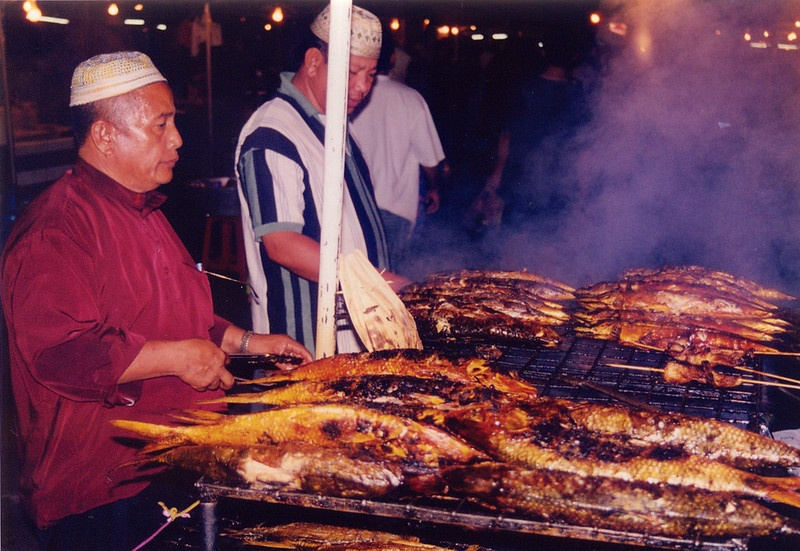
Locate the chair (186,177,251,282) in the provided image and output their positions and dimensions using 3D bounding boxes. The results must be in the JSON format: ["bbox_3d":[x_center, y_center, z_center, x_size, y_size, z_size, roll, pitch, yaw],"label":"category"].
[{"bbox_3d":[-2.031,-0.449,8.723,0.713,1.246,0.695,-5,23,-23],"label":"chair"}]

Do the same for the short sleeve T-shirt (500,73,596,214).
[{"bbox_3d":[1.365,-1.258,7.228,0.678,1.236,0.401,6,20,9],"label":"short sleeve T-shirt"}]

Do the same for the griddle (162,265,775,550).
[{"bbox_3d":[0.423,0.659,3.248,1.615,0.065,1.230,6,22,10],"label":"griddle"}]

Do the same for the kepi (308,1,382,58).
[{"bbox_3d":[-0.283,-1.320,4.131,0.390,0.280,0.448,-1,21,-7],"label":"kepi"}]

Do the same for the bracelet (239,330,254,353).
[{"bbox_3d":[-0.851,0.358,4.237,0.089,0.099,0.096,13,36,8],"label":"bracelet"}]
